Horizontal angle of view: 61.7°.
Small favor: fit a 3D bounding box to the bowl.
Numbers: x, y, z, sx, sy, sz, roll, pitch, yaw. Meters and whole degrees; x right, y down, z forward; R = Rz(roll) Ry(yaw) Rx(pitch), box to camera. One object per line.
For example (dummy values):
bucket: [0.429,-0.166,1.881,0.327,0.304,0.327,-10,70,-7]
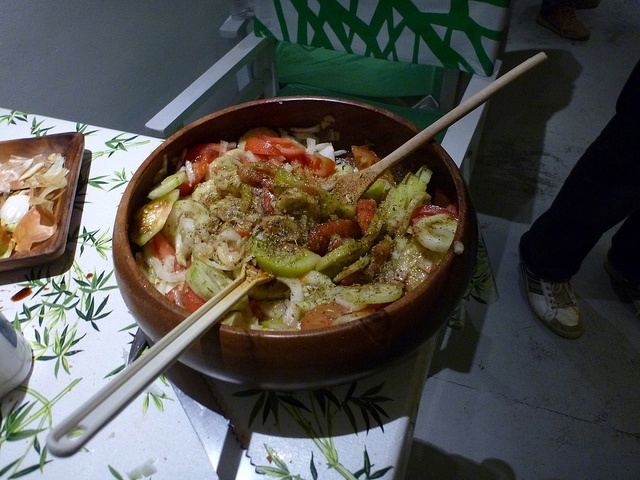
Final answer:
bowl: [-0.050,-0.034,1.427,0.930,0.208,0.812,5,58,1]
